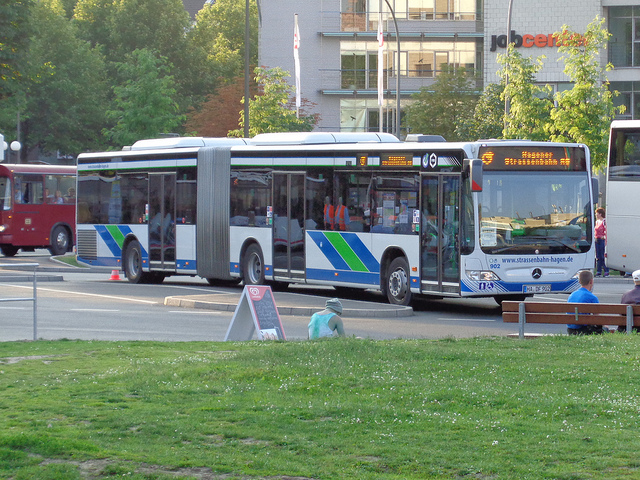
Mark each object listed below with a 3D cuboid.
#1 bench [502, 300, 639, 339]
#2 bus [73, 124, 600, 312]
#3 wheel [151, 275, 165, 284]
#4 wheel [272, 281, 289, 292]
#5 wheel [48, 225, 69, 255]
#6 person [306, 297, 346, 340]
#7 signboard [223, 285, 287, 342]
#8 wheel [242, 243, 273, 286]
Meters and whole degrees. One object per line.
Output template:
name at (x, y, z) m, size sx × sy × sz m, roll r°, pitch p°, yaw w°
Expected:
bench at (4.383, 1.400, 21.391) m, size 2.345 × 0.672 × 0.610 m, roll 0°, pitch 0°, yaw 6°
bus at (-0.857, -0.841, 30.987) m, size 13.631 × 3.598 × 3.237 m, roll 2°, pitch 7°, yaw 40°
wheel at (-4.615, 1.127, 34.862) m, size 0.054 × 0.253 × 0.248 m, roll 17°, pitch 19°, yaw 20°
wheel at (-1.040, 1.173, 31.300) m, size 0.239 × 0.252 × 0.089 m, roll 13°, pitch -13°, yaw 25°
wheel at (-9.984, -0.061, 46.511) m, size 0.319 × 0.911 × 0.892 m, roll -5°, pitch 15°, yaw 24°
person at (0.107, 1.355, 21.145) m, size 0.599 × 0.689 × 0.966 m, roll 0°, pitch 0°, yaw -1°
signboard at (-1.181, 1.298, 21.918) m, size 1.069 × 0.970 × 0.622 m, roll 0°, pitch 0°, yaw -3°
wheel at (-1.670, 0.572, 30.690) m, size 0.248 × 1.013 × 0.919 m, roll 0°, pitch 0°, yaw -37°
